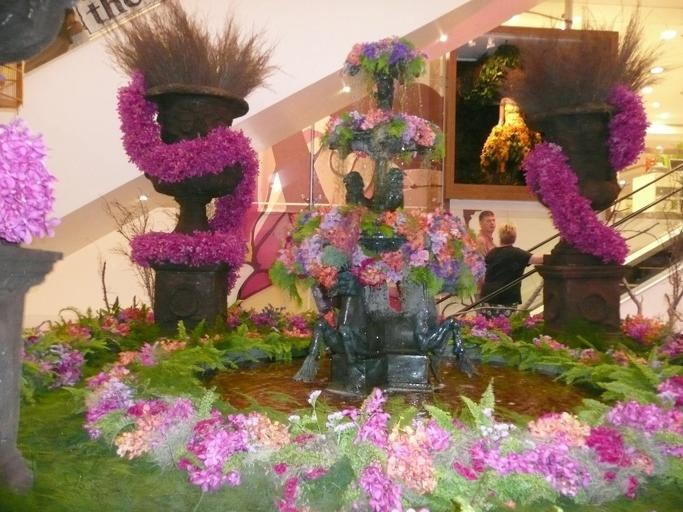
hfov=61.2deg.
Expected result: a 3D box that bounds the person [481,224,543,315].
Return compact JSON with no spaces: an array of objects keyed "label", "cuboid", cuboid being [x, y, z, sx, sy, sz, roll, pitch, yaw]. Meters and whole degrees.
[{"label":"person","cuboid":[1.510,0.072,5.354,0.601,0.791,0.537,-3,-10,35]}]
